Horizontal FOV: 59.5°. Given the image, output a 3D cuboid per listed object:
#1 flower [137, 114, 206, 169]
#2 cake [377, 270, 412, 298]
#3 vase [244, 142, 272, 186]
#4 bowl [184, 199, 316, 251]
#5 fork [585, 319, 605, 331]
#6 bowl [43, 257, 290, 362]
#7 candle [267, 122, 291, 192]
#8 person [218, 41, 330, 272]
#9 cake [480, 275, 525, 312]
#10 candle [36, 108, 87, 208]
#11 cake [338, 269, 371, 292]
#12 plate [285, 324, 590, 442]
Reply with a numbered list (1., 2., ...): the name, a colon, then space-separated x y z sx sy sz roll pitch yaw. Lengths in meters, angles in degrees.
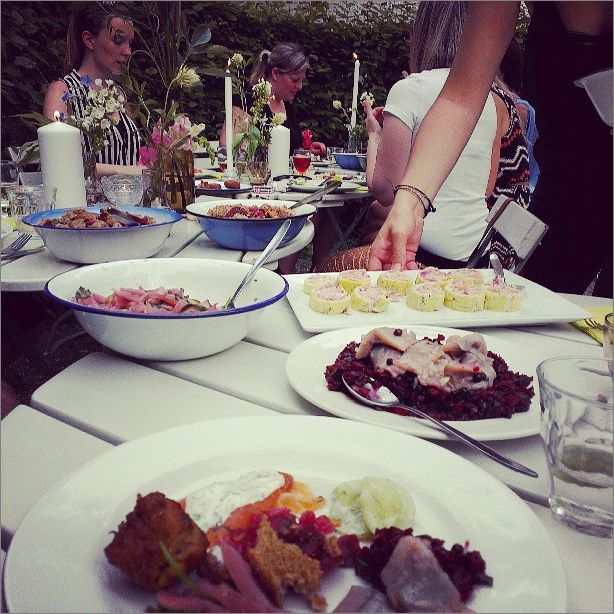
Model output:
1. flower: -0.592 -0.723 2.384 0.247 0.251 0.180 -1 16 15
2. cake: 0.262 -0.079 1.613 0.075 0.038 0.084 4 31 2
3. vase: -0.320 -0.919 3.523 0.201 0.274 0.229 -1 11 -2
4. bowl: -0.186 -0.291 1.835 0.295 0.111 0.256 -6 19 -25
5. fork: 0.707 0.042 1.321 0.027 0.010 0.031 -4 27 0
6. bowl: -0.315 -0.080 1.166 0.476 0.245 0.367 -13 19 -36
7. candle: -0.199 -1.178 4.044 0.166 0.398 0.176 0 0 -18
8. person: -0.365 -2.057 6.044 1.093 3.321 0.889 0 16 -9
9. cake: 0.528 -0.040 1.479 0.061 0.039 0.109 -4 18 -3
10. candle: -0.999 -0.588 2.286 0.160 0.561 0.224 -5 16 -24
11. cake: 0.136 -0.093 1.575 0.061 0.035 0.078 0 25 -6
12. plate: 0.196 0.039 1.002 0.469 0.175 0.417 -2 13 -19
